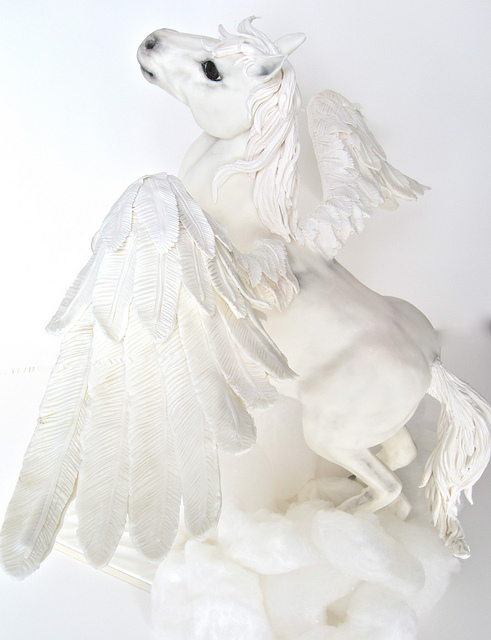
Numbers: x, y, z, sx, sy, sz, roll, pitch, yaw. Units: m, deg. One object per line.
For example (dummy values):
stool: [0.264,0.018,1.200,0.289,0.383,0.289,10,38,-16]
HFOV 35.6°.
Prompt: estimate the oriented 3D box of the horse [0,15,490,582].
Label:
horse: [0.053,-0.020,1.332,0.594,0.627,0.991,27,52,15]

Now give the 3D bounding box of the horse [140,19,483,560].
horse: [0.113,-0.040,1.367,0.506,0.925,0.543,-6,19,-16]
